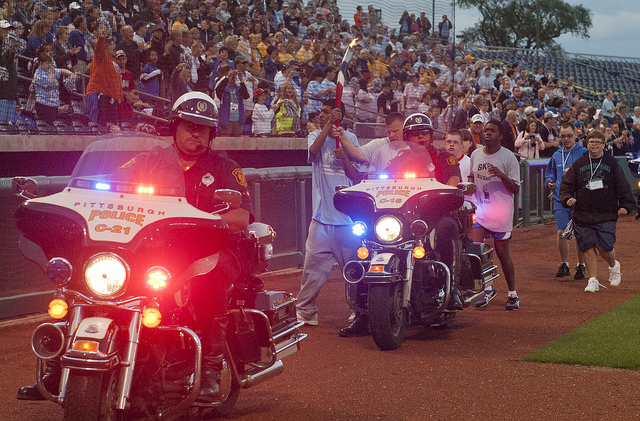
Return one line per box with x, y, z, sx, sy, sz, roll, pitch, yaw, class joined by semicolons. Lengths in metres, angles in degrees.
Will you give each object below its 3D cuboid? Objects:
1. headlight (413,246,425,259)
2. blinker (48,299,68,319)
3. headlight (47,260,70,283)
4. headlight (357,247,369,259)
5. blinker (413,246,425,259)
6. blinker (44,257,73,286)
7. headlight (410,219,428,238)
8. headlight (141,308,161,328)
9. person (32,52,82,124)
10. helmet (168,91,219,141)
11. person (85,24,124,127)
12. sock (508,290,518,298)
1.220;0.514;7.442;0.131;0.137;0.088;1;-2;11;headlight
-1.889;0.712;4.353;0.124;0.164;0.110;-1;7;-26;blinker
-1.846;0.427;4.256;0.150;0.156;0.034;-6;0;5;headlight
0.549;0.538;7.629;0.133;0.149;0.089;3;6;7;headlight
1.226;0.514;7.487;0.140;0.152;0.135;3;6;8;blinker
-1.840;0.423;4.317;0.188;0.196;0.108;-10;-1;10;blinker
1.216;0.225;7.452;0.207;0.240;0.181;3;6;8;headlight
-1.210;0.774;4.332;0.130;0.157;0.067;2;6;1;headlight
-5.520;-2.535;12.311;0.686;1.486;0.969;2;6;7;person
-1.070;-0.838;5.150;0.303;0.313;0.375;8;11;-13;helmet
-4.544;-2.697;12.612;0.584;1.849;0.825;3;7;15;person
3.129;1.348;9.769;0.145;0.118;0.264;3;7;14;sock
